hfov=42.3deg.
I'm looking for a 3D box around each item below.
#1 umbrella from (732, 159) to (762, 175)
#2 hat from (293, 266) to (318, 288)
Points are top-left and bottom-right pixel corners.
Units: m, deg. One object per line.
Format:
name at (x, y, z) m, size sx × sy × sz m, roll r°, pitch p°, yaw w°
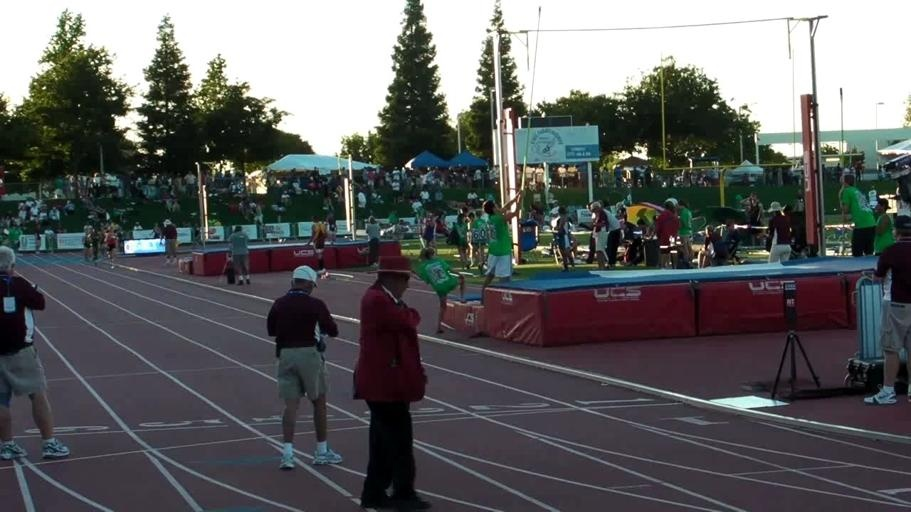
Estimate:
umbrella at (21.110, -6.257, 84.579) m, size 1.512 × 0.806 × 1.577 m, roll -1°, pitch 0°, yaw -10°
hat at (-3.980, 0.605, 31.804) m, size 0.522 × 0.398 × 0.720 m, roll 9°, pitch 1°, yaw 37°
